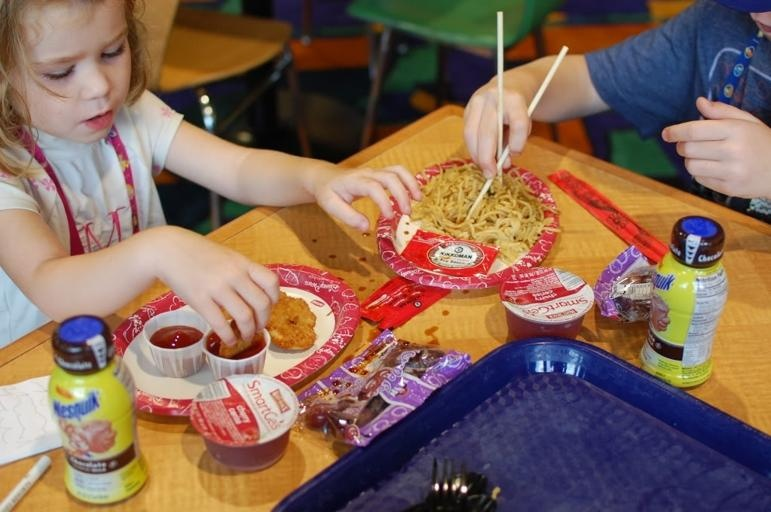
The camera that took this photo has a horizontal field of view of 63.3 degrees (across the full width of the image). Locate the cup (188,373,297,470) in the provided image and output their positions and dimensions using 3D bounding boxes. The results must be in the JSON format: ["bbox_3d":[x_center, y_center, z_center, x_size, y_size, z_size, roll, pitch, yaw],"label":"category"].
[{"bbox_3d":[-0.216,0.268,0.990,0.162,0.116,0.116,-9,34,-7],"label":"cup"}]

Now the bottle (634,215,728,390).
[{"bbox_3d":[0.505,0.084,1.040,0.122,0.280,0.120,-4,34,2],"label":"bottle"}]

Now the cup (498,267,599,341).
[{"bbox_3d":[0.299,0.095,1.166,0.161,0.087,0.136,8,36,18],"label":"cup"}]

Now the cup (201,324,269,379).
[{"bbox_3d":[-0.252,0.175,1.064,0.104,0.083,0.093,7,20,18],"label":"cup"}]

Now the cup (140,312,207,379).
[{"bbox_3d":[-0.370,0.146,1.103,0.112,0.076,0.117,2,42,-2],"label":"cup"}]

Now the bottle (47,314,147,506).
[{"bbox_3d":[-0.432,0.226,0.900,0.147,0.298,0.099,-19,36,-19],"label":"bottle"}]

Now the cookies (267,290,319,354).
[{"bbox_3d":[-0.175,0.117,1.158,0.087,0.116,0.011,-2,30,-1],"label":"cookies"}]

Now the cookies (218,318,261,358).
[{"bbox_3d":[-0.254,0.143,1.083,0.062,0.015,0.062,42,80,11],"label":"cookies"}]

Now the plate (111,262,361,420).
[{"bbox_3d":[-0.276,0.132,1.238,0.433,0.245,0.321,-6,18,-2],"label":"plate"}]
